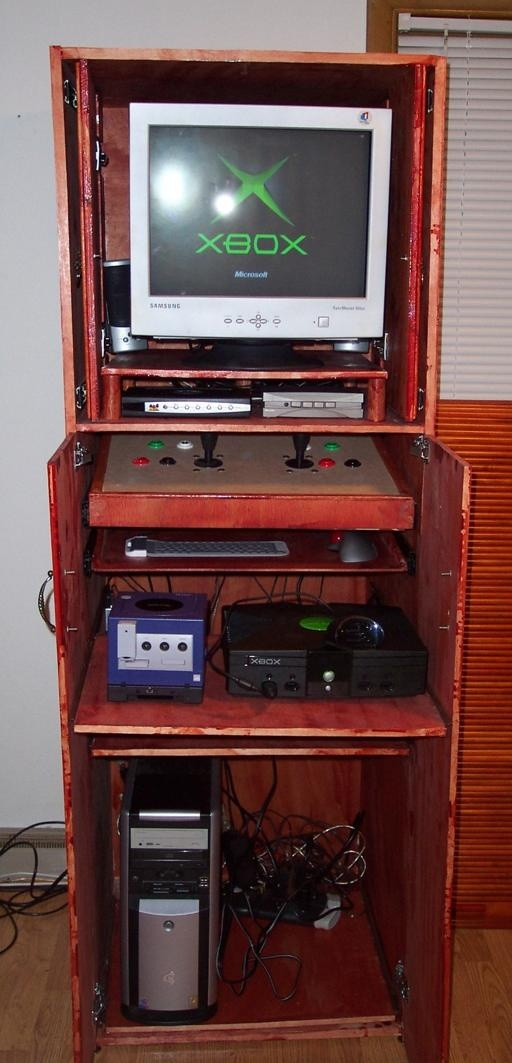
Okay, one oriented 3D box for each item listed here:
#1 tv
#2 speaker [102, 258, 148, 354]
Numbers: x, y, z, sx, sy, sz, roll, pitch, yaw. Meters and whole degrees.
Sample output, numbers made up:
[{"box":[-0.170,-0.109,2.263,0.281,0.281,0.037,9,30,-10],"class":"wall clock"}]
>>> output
[{"box":[0.007,-0.736,1.620,0.480,0.323,0.485,0,-33,-1],"class":"tv"},{"box":[-0.268,-0.458,1.644,0.059,0.193,0.096,-3,18,-13],"class":"speaker"}]
